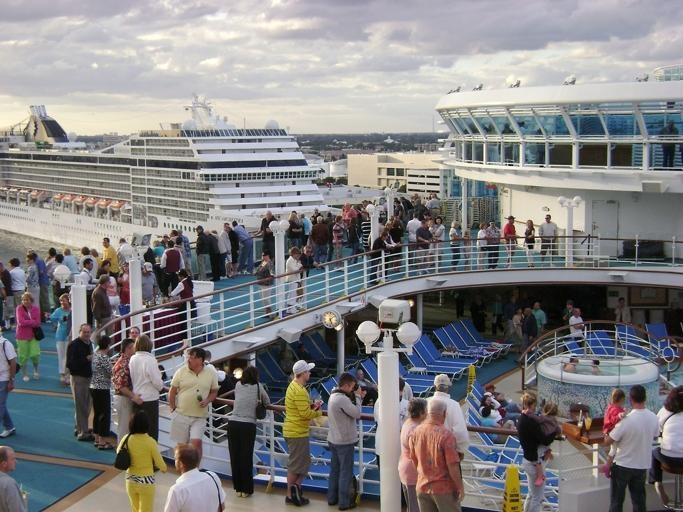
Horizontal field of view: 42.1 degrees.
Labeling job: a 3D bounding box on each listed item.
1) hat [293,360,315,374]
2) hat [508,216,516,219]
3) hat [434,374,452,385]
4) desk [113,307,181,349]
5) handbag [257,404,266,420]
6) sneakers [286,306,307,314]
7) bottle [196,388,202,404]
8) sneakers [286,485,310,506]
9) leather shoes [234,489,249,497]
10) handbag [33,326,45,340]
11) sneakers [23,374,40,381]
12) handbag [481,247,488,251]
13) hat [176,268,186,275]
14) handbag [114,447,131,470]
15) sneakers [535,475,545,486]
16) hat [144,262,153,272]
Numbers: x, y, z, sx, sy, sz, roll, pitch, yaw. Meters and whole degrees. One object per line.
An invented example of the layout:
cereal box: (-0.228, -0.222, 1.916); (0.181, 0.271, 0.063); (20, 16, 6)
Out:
hat: (-0.560, 1.683, 13.443); (0.261, 0.211, 0.521); (-1, 2, 4)
hat: (5.652, -1.271, 29.237); (0.280, 0.089, 0.292); (0, -2, 2)
hat: (1.465, 1.816, 12.684); (0.224, 0.103, 0.328); (1, 0, 8)
desk: (-3.837, 1.631, 18.078); (1.207, 0.709, 1.171); (0, 0, -31)
handbag: (-1.212, 2.353, 13.388); (0.154, 0.293, 0.245); (-2, 3, 2)
sneakers: (-1.110, 1.286, 21.498); (0.559, 0.225, 0.178); (-3, 4, 14)
bottle: (-2.170, 2.131, 13.559); (0.102, 0.194, 0.023); (0, 1, 17)
sneakers: (-0.629, 3.616, 13.413); (0.182, 0.274, 0.495); (4, 0, 31)
leather shoes: (-1.526, 3.646, 13.615); (0.178, 0.071, 0.075); (-2, 9, -33)
handbag: (-6.026, 1.530, 17.606); (0.177, 0.301, 0.369); (-1, 2, -16)
sneakers: (-6.496, 2.541, 18.497); (0.363, 0.148, 0.123); (-12, -5, 34)
handbag: (4.303, -0.223, 26.682); (0.149, 0.120, 0.193); (0, 4, -3)
hat: (-3.337, 0.327, 18.654); (0.167, 0.109, 0.317); (-1, 2, -10)
handbag: (-3.005, 2.775, 12.191); (0.210, 0.365, 0.156); (-1, 1, -13)
sneakers: (2.879, 3.238, 12.751); (0.162, 0.147, 0.086); (-2, 2, -27)
hat: (-4.491, 0.256, 20.577); (0.155, 0.121, 0.248); (35, -10, 13)
